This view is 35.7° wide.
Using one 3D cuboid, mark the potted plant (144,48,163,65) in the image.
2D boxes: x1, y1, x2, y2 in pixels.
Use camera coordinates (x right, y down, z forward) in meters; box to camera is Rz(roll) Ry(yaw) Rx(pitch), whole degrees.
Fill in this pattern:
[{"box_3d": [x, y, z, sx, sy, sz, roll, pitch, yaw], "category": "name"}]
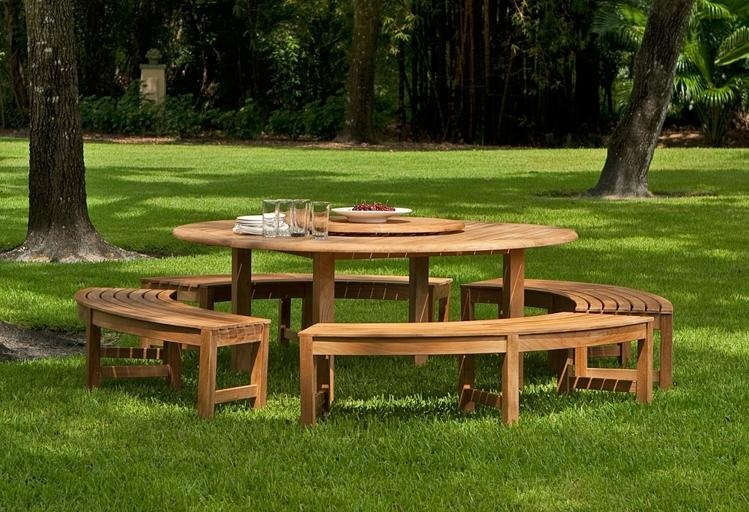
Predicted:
[{"box_3d": [-7.953, -7.210, 41.897, 0.565, 0.554, 1.321, -3, 13, -11], "category": "potted plant"}]
